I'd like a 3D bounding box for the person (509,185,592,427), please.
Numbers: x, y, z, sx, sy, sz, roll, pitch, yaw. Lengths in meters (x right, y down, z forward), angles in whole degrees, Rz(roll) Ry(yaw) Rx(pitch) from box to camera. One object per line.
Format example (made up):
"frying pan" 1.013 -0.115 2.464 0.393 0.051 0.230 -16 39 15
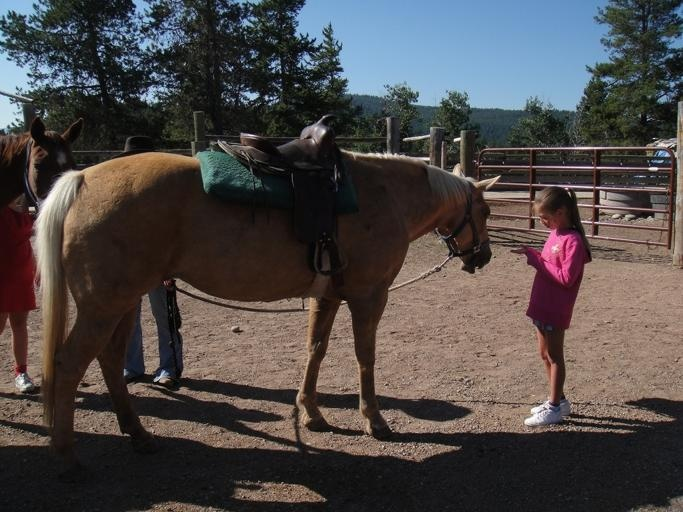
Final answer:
"person" 1.540 0.361 4.903 0.405 1.730 0.502 10 14 42

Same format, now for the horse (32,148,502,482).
"horse" -0.276 0.334 4.917 3.596 2.094 1.018 -3 1 -21

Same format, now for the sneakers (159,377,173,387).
"sneakers" -1.448 1.021 5.404 0.116 0.070 0.056 6 7 24

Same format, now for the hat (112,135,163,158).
"hat" -1.639 -0.919 5.232 0.268 0.111 0.307 -15 4 -27
